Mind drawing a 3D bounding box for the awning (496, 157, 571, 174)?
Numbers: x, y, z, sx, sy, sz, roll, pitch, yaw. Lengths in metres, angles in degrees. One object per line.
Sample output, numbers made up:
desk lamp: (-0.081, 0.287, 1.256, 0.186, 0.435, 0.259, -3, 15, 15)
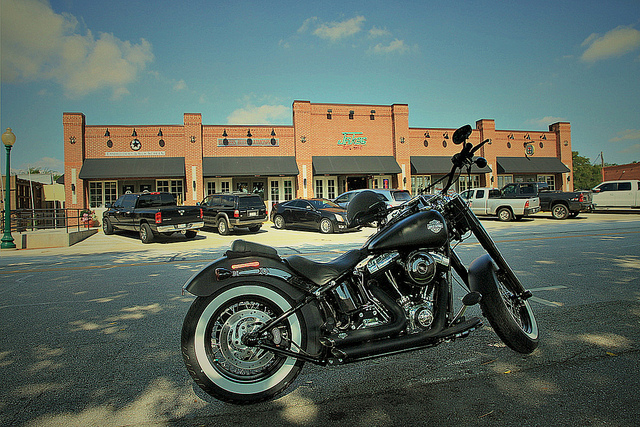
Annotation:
awning: (18.415, -4.220, 38.005, 6.909, 1.656, 1.382, -6, 15, -18)

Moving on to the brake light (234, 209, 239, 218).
brake light: (-3.553, -0.009, 18.414, 0.256, 0.452, 0.258, 2, -4, -12)

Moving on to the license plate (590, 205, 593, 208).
license plate: (13.979, -0.387, 22.392, 0.132, 0.210, 0.134, -1, 9, 29)

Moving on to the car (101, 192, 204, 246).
car: (-7.020, 0.032, 17.930, 4.519, 1.592, 2.237, 8, 7, 44)

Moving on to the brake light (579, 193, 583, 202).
brake light: (13.153, -0.786, 21.848, 0.221, 0.292, 0.105, 4, 3, -9)

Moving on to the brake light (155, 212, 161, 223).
brake light: (-6.007, 0.141, 16.061, 0.227, 0.351, 0.176, -3, 15, -6)

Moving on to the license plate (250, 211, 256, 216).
license plate: (-2.918, -0.002, 18.833, 0.205, 0.138, 0.110, 0, -6, -22)

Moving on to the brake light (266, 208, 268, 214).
brake light: (-2.788, -0.138, 22.581, 0.100, 0.381, 0.408, 3, 24, -10)

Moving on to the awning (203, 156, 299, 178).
awning: (-5.021, -3.369, 30.899, 6.436, 1.377, 1.792, -5, 15, -12)

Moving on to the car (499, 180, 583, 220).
car: (11.520, -0.533, 22.482, 4.136, 1.638, 2.005, 7, 9, 39)

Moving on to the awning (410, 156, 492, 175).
awning: (6.419, -2.623, 23.516, 3.992, 0.885, 1.715, -2, 5, -10)
